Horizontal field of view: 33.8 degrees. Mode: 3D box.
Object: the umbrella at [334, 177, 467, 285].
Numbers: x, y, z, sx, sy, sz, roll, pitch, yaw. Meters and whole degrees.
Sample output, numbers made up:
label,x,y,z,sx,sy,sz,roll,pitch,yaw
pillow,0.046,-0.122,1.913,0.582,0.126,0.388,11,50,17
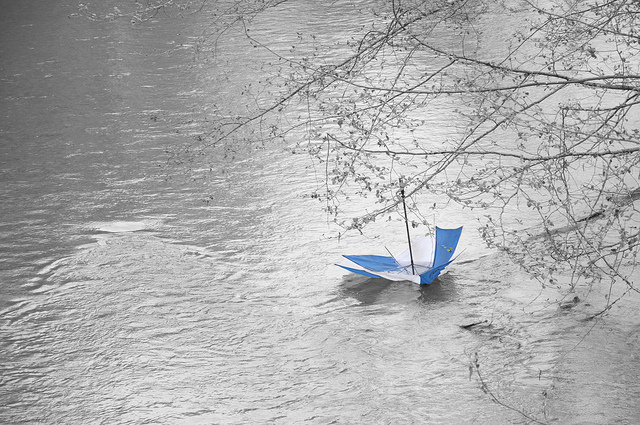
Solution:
label,x,y,z,sx,sy,sz,roll,pitch,yaw
umbrella,0.966,0.333,11.472,1.185,0.834,1.236,-40,42,-25
